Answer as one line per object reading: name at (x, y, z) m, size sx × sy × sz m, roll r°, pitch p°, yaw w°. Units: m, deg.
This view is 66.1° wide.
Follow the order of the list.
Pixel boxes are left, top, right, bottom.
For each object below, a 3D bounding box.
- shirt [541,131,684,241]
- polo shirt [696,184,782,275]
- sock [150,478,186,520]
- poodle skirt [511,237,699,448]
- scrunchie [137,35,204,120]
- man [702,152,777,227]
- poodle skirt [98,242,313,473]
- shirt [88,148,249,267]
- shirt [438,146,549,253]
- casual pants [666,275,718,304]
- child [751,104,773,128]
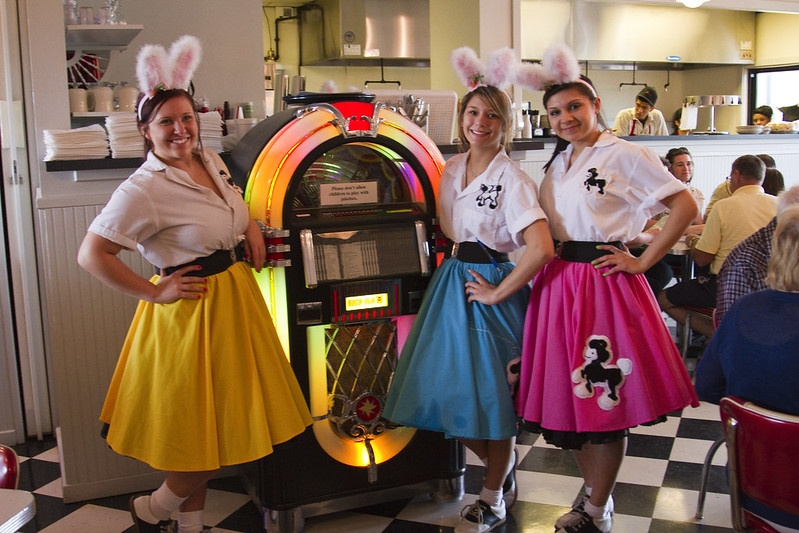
shirt at (0.922, -0.386, 2.948) m, size 0.377 × 0.567 × 0.796 m, roll -4°, pitch 4°, yaw -33°
polo shirt at (2.434, -0.245, 4.459) m, size 0.682 × 0.566 × 0.352 m, roll -2°, pitch 9°, yaw -18°
sock at (-1.075, 1.061, 2.771) m, size 0.144 × 0.095 × 0.140 m, roll 41°, pitch 51°, yaw 23°
poodle skirt at (0.866, 0.364, 3.212) m, size 0.925 × 1.068 × 0.992 m, roll -4°, pitch -8°, yaw -33°
scrunchie at (-1.008, -0.861, 2.709) m, size 0.251 × 0.111 × 0.208 m, roll 22°, pitch 8°, yaw -21°
man at (2.978, -0.703, 5.611) m, size 1.017 × 0.347 × 0.310 m, roll -29°, pitch 47°, yaw -36°
poodle skirt at (-0.881, 0.317, 3.021) m, size 1.037 × 0.958 × 0.896 m, roll -5°, pitch 7°, yaw -33°
shirt at (-0.963, -0.306, 2.826) m, size 0.453 × 0.488 × 0.880 m, roll 6°, pitch 20°, yaw 21°
shirt at (0.419, -0.326, 3.030) m, size 0.324 × 0.568 × 0.708 m, roll -6°, pitch 17°, yaw -34°
casual pants at (2.077, 0.179, 4.369) m, size 0.172 × 0.110 × 0.292 m, roll -5°, pitch 1°, yaw -39°
child at (5.155, -2.130, 8.696) m, size 0.227 × 0.318 × 0.848 m, roll 4°, pitch 11°, yaw 31°
